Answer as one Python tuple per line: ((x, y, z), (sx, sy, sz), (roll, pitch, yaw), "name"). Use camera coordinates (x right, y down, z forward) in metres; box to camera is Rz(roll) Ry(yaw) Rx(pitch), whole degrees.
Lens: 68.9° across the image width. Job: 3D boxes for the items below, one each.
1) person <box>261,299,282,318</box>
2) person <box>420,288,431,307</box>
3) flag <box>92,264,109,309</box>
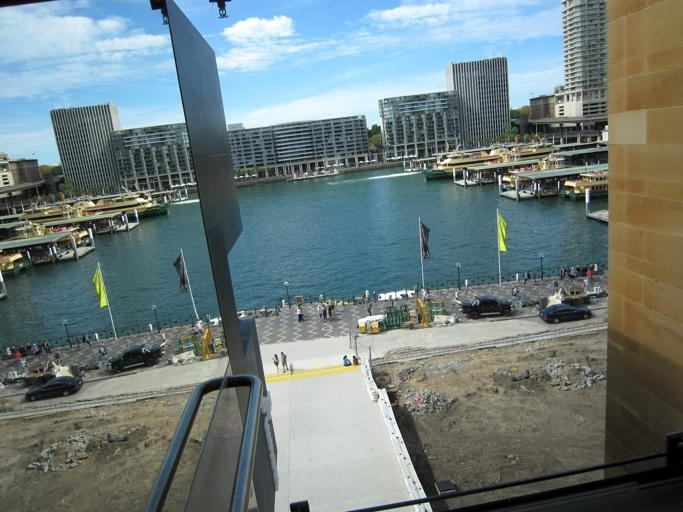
((-3.084, 2.386, 21.965), (0.663, 0.334, 0.818), (-1, 9, 0), "person")
((3.567, 1.643, 21.313), (0.361, 0.445, 0.876), (-6, 8, -1), "person")
((-1.177, 0.147, 2.428), (0.053, 0.209, 0.128), (-12, 10, -22), "flag")
